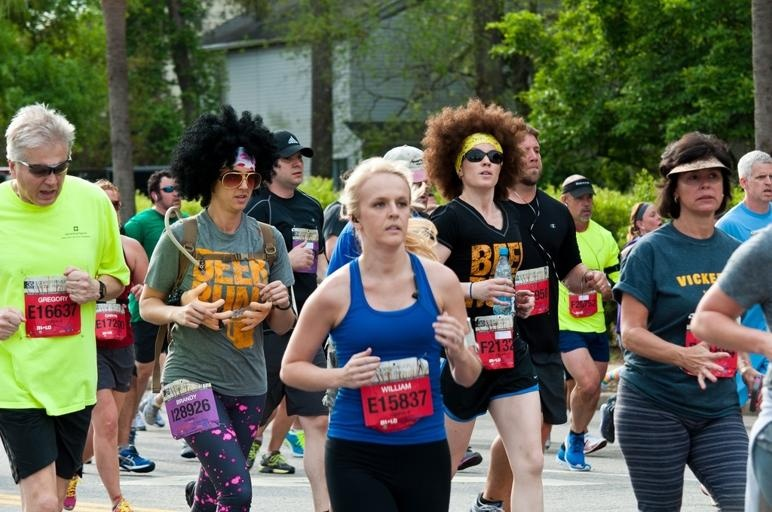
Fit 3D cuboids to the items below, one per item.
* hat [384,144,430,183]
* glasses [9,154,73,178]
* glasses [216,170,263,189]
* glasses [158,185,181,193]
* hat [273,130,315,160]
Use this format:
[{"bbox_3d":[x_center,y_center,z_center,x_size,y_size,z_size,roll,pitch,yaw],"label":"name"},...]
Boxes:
[{"bbox_3d":[0.219,-0.796,9.966,0.409,0.220,0.303,13,18,32],"label":"hat"},{"bbox_3d":[-2.542,-0.648,8.528,0.400,0.142,0.171,-3,5,-22],"label":"glasses"},{"bbox_3d":[-1.126,-0.585,8.877,0.305,0.137,0.137,-2,4,-10],"label":"glasses"},{"bbox_3d":[-2.185,-0.676,11.567,0.228,0.076,0.220,0,-18,-7],"label":"glasses"},{"bbox_3d":[-0.814,-1.045,10.761,0.419,0.210,0.284,-2,3,43],"label":"hat"}]
